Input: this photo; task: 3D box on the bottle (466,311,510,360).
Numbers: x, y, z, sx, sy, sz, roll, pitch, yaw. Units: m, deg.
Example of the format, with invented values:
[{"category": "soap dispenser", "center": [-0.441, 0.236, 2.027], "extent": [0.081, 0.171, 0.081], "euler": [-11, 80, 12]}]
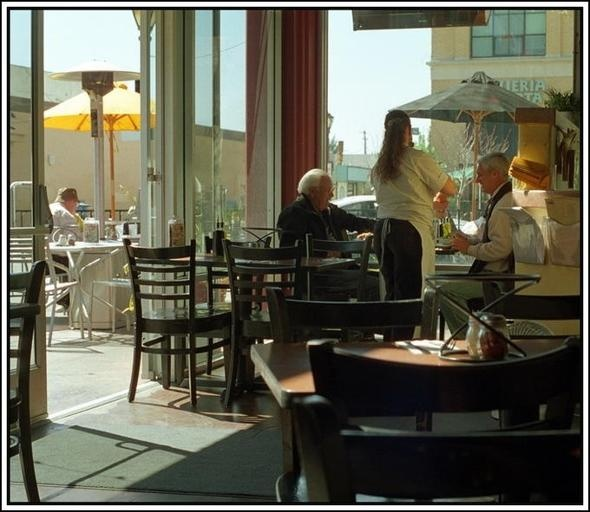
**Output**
[{"category": "bottle", "center": [0.439, 0.176, 1.595], "extent": [0.090, 0.101, 0.094], "euler": [-1, 0, 41]}]

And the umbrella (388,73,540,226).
[{"category": "umbrella", "center": [1.705, -1.095, 7.233], "extent": [1.321, 1.588, 1.459], "euler": [4, 7, 20]}]

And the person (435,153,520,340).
[{"category": "person", "center": [1.137, 0.050, 4.249], "extent": [0.477, 1.332, 0.487], "euler": [3, 10, 20]}]
